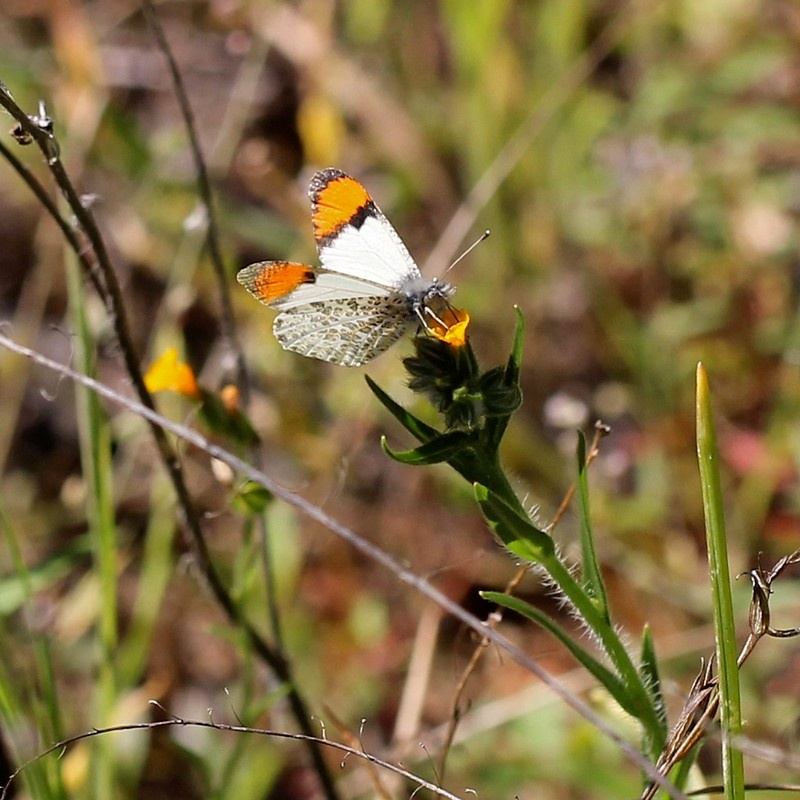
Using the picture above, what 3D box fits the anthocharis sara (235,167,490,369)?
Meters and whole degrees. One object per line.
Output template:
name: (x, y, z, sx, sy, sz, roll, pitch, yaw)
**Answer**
anthocharis sara: (-0.077, -0.364, 2.682, 0.673, 0.980, 0.498, -4, -69, 14)
